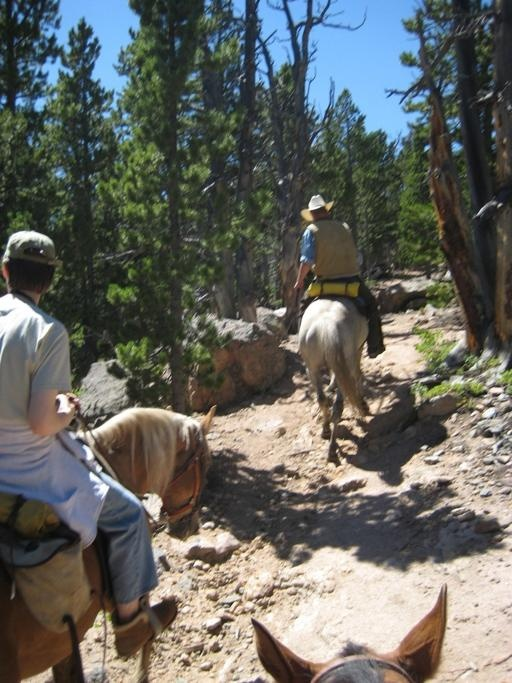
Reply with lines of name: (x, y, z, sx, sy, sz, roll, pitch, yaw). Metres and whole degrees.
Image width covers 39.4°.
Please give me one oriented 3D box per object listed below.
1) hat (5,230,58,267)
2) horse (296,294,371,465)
hat: (-1.047, -0.434, 3.315, 0.137, 0.160, 0.227, 0, 18, -22)
horse: (0.948, 0.053, 8.408, 0.492, 2.063, 2.355, -1, 15, 12)
